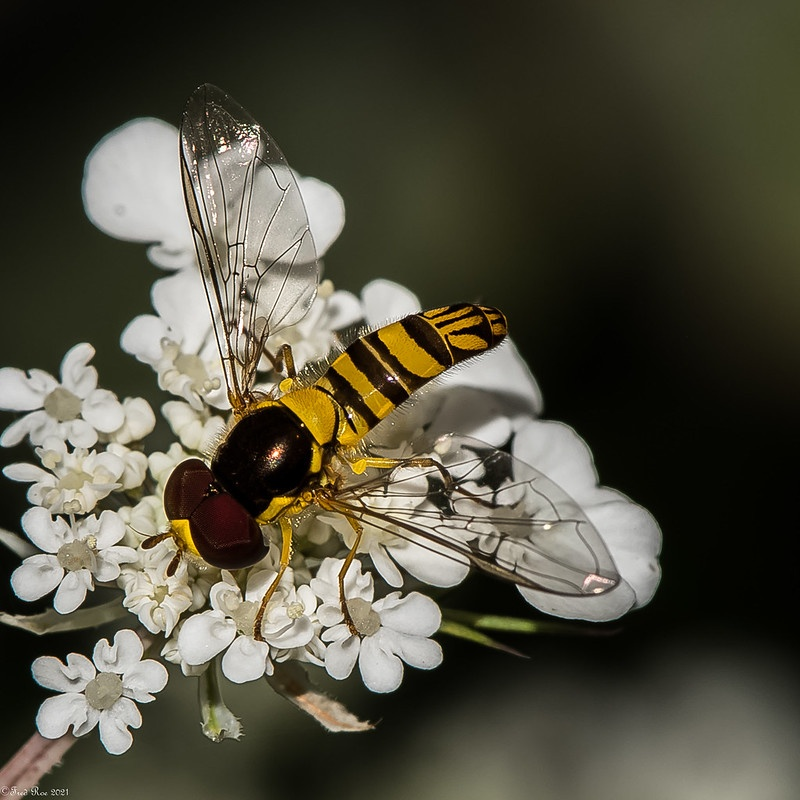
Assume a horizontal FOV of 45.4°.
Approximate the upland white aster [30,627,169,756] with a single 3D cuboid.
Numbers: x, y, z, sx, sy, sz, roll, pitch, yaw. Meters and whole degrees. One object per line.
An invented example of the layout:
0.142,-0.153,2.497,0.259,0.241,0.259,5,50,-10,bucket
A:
-0.605,0.598,1.991,0.261,0.099,0.261,-30,72,16,upland white aster
